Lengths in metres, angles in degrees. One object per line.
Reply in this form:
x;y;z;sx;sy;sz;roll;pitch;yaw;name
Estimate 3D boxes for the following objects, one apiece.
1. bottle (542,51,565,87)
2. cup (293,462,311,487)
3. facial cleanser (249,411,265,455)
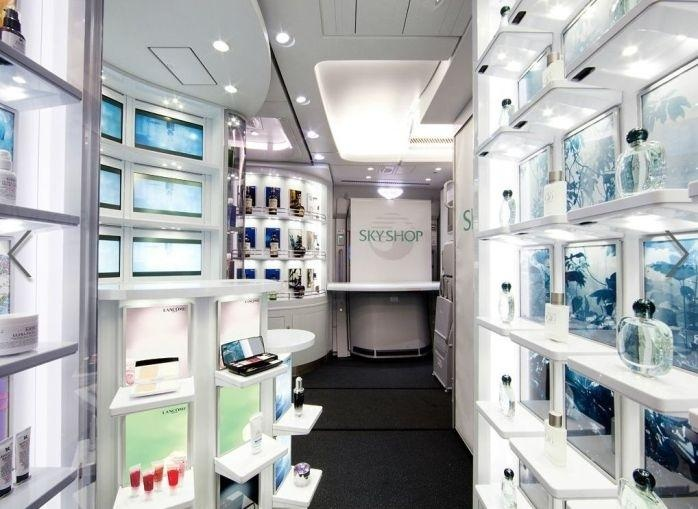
0.926;-0.844;2.252;0.057;0.136;0.109;-12;9;-25;bottle
-0.294;1.364;3.065;0.101;0.119;0.103;2;-4;0;cup
-0.520;1.016;2.775;0.044;0.215;0.099;-3;0;28;facial cleanser
